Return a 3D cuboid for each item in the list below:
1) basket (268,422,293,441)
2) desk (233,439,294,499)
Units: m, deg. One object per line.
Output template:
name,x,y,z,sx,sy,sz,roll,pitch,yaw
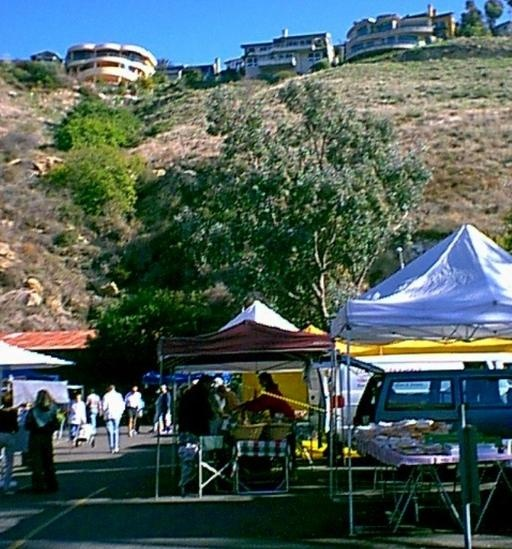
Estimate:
basket,0.399,2.539,15.115,0.308,0.318,0.266,2,-9,-11
desk,0.086,2.977,14.816,0.914,1.074,1.618,-6,5,-1
